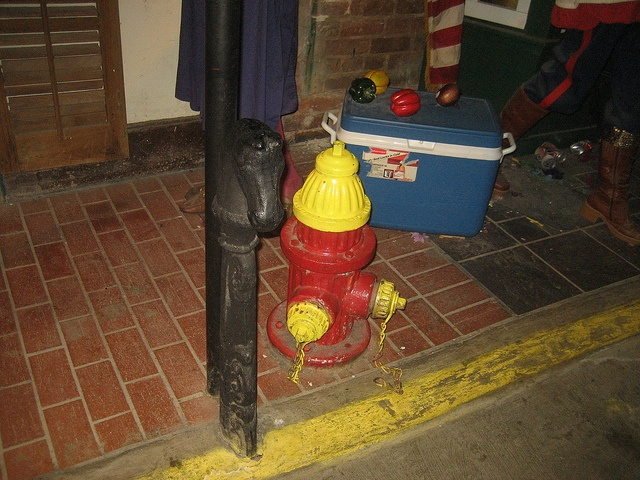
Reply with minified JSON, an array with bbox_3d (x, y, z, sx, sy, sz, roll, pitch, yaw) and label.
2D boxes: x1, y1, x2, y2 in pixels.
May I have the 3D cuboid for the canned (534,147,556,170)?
[{"bbox_3d":[2.331,-0.833,5.628,0.114,0.164,0.254,-25,38,8],"label":"canned"}]

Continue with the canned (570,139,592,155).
[{"bbox_3d":[2.778,-0.984,5.803,0.208,0.071,0.147,-17,45,-9],"label":"canned"}]

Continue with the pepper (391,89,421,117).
[{"bbox_3d":[0.650,-1.061,4.232,0.206,0.155,0.215,-2,63,-3],"label":"pepper"}]

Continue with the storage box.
[{"bbox_3d":[0.845,-0.668,4.654,1.506,0.966,0.962,5,32,3],"label":"storage box"}]

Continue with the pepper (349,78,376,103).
[{"bbox_3d":[0.343,-1.194,4.356,0.131,0.131,0.168,-34,47,11],"label":"pepper"}]

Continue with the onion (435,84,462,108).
[{"bbox_3d":[1.010,-1.159,4.386,0.198,0.151,0.145,-33,57,-12],"label":"onion"}]
